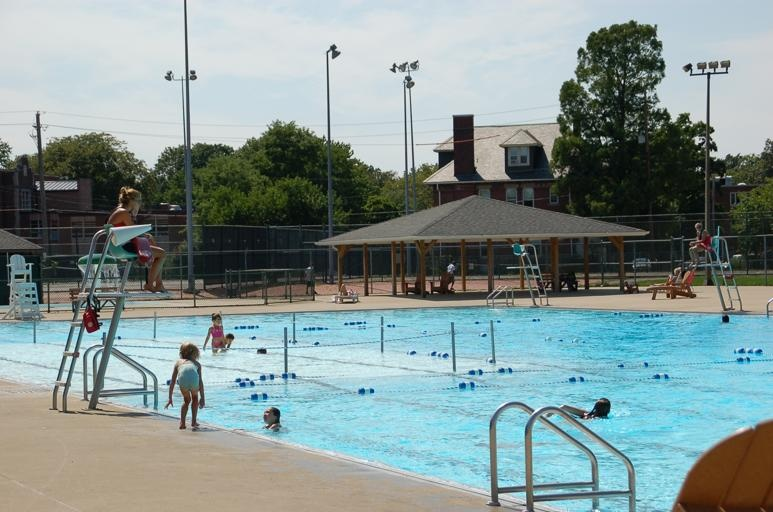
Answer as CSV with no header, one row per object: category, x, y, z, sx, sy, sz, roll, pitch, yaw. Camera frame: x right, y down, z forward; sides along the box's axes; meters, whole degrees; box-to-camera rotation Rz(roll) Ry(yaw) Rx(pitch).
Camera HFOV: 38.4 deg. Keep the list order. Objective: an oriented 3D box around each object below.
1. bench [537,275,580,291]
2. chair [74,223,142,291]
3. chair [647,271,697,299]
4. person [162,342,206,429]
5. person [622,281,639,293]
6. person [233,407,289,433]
bench,7.776,1.144,49.284,1.314,0.555,1.278,-1,-1,4
chair,-5.954,0.107,24.479,1.450,1.407,1.541,-3,-3,-33
chair,11.272,1.098,43.504,1.933,1.080,1.117,-2,-3,-3
person,-4.238,2.740,23.807,0.644,1.779,0.820,1,-2,-23
person,10.554,1.366,47.814,0.743,0.433,0.717,0,6,13
person,-2.535,3.660,24.543,0.543,0.626,0.787,17,-15,-32
